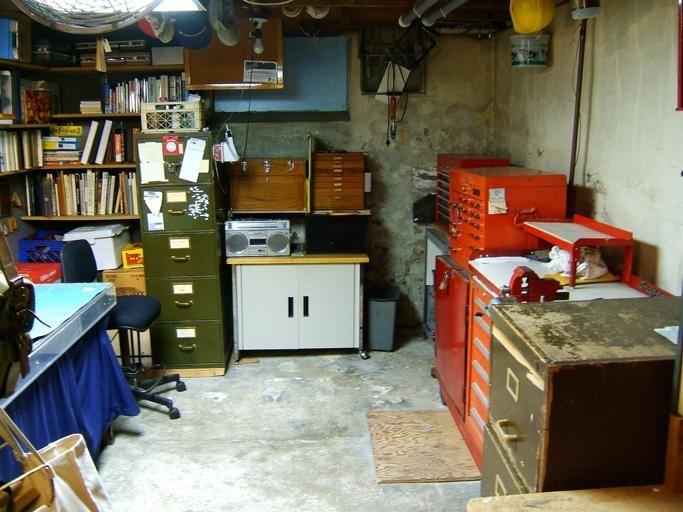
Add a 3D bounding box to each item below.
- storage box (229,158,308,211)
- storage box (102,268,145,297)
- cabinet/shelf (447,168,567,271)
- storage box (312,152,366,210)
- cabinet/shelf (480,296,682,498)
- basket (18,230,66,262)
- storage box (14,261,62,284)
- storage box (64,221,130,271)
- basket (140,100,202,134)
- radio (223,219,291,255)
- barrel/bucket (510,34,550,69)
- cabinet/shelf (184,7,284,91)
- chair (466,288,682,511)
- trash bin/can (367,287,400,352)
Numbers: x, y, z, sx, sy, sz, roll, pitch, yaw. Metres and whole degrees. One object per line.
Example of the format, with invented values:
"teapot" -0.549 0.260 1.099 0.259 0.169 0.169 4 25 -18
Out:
"storage box" -0.762 -0.604 4.852 0.766 0.417 0.428 -6 9 -36
"storage box" -1.718 0.191 4.307 0.250 0.143 0.126 1 15 -1
"cabinet/shelf" 0.930 -0.306 3.672 0.716 0.743 0.978 -4 9 -15
"storage box" -0.036 -0.621 4.905 0.735 0.568 0.472 -1 9 -1
"cabinet/shelf" 0.798 0.407 2.267 0.858 1.025 0.631 1 9 1
"basket" -2.498 -0.080 4.637 0.435 0.217 0.387 0 8 0
"storage box" -2.033 0.107 3.685 0.204 0.061 0.192 0 7 -5
"storage box" -2.036 -0.118 4.535 0.451 0.234 0.502 -5 14 -13
"basket" -1.327 -1.078 4.139 0.442 0.185 0.274 0 14 1
"radio" -0.622 -0.151 4.650 0.625 0.321 0.345 -1 3 28
"barrel/bucket" 1.285 -1.427 3.875 0.305 0.162 0.240 0 9 3
"cabinet/shelf" -0.865 -1.598 4.641 1.015 0.575 0.544 0 12 0
"chair" 0.835 0.599 1.903 0.646 0.796 0.596 0 11 10
"trash bin/can" 0.363 0.561 4.945 0.280 0.484 0.462 0 10 5
